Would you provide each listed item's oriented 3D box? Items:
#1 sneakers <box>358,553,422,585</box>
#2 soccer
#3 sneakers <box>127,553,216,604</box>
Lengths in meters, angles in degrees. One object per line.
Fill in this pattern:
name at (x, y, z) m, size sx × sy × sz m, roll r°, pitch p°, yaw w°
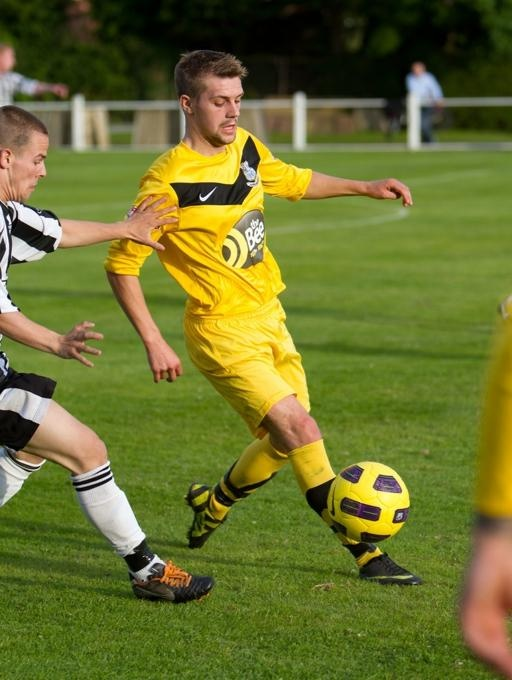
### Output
sneakers at (0.492, 0.856, 3.078) m, size 0.222 × 0.077 × 0.087 m, roll 2°, pitch 6°, yaw 29°
soccer at (0.424, 0.585, 2.997) m, size 0.335 × 0.288 × 0.305 m, roll 2°, pitch 1°, yaw 12°
sneakers at (-0.293, 0.840, 2.910) m, size 0.373 × 0.143 × 0.121 m, roll 0°, pitch 29°, yaw -1°
